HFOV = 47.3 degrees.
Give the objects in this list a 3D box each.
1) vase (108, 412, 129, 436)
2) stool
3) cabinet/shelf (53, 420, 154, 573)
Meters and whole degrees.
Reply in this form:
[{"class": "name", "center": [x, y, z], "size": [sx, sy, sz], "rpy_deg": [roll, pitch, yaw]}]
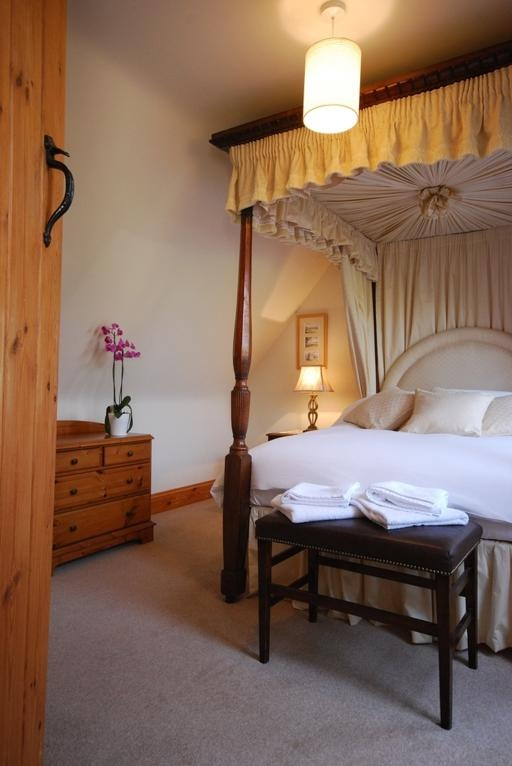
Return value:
[{"class": "vase", "center": [-0.836, 0.261, 3.603], "size": [0.105, 0.125, 0.138], "rpy_deg": [0, -7, 5]}, {"class": "stool", "center": [0.416, 0.538, 2.063], "size": [0.834, 0.691, 0.496], "rpy_deg": [-1, -3, 34]}, {"class": "cabinet/shelf", "center": [-0.861, 0.670, 3.308], "size": [0.418, 0.838, 0.811], "rpy_deg": [-4, -3, 36]}]
